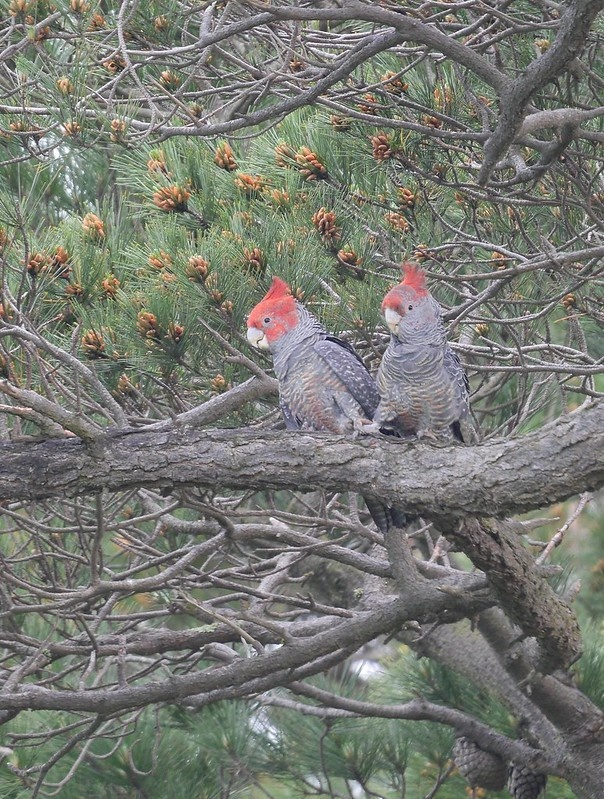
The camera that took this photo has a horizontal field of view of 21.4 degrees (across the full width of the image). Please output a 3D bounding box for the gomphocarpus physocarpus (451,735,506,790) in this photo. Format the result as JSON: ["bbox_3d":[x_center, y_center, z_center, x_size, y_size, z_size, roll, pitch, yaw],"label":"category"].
[{"bbox_3d":[0.703,1.440,6.375,0.156,0.250,0.166,-7,-11,41],"label":"gomphocarpus physocarpus"}]

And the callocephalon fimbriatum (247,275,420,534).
[{"bbox_3d":[0.106,-0.063,6.228,0.371,0.772,0.789,-4,0,42],"label":"callocephalon fimbriatum"}]
